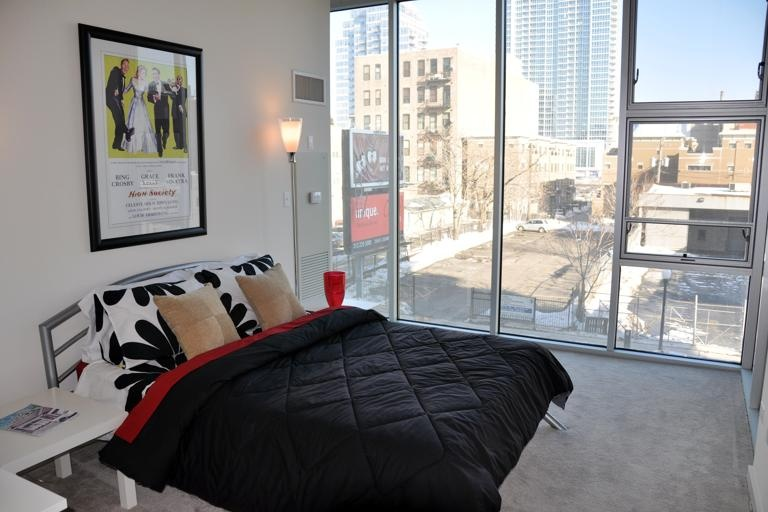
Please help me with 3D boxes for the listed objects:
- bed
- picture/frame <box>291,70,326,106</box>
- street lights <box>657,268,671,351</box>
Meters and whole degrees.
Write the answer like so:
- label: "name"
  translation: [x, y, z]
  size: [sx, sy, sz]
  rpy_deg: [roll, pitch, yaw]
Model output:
- label: "bed"
  translation: [-0.614, 0.895, 3.327]
  size: [1.617, 0.758, 1.400]
  rpy_deg: [5, 15, 22]
- label: "picture/frame"
  translation: [-0.815, -1.782, 5.215]
  size: [0.020, 0.311, 0.519]
  rpy_deg: [10, 13, 37]
- label: "street lights"
  translation: [2.785, 0.545, 4.879]
  size: [0.084, 0.825, 0.087]
  rpy_deg: [4, 17, 27]
